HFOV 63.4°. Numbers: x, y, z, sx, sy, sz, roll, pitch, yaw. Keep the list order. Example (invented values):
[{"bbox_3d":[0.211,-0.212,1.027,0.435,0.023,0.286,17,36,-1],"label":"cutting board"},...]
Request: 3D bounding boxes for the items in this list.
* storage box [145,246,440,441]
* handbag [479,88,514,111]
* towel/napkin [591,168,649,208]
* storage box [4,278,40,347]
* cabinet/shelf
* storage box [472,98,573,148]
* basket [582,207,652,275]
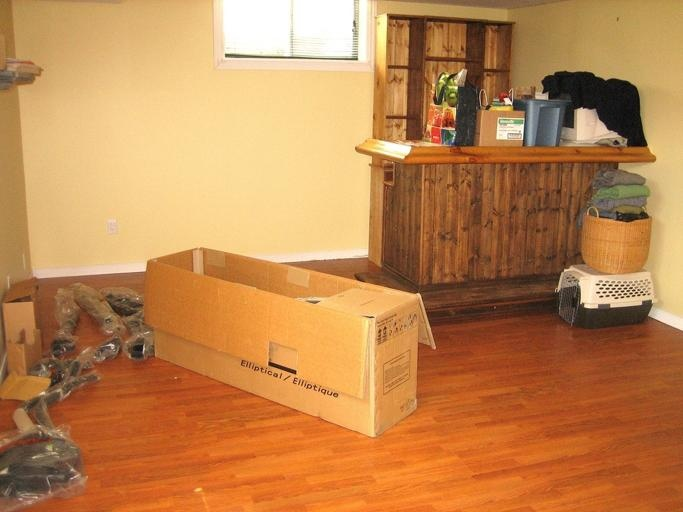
[{"bbox_3d":[-0.384,0.448,3.334,1.813,0.702,0.573,11,21,30],"label":"storage box"},{"bbox_3d":[1.226,-1.239,4.383,0.272,0.146,0.349,5,18,15],"label":"handbag"},{"bbox_3d":[2.149,-0.502,4.282,0.369,0.196,0.344,-7,22,-12],"label":"towel/napkin"},{"bbox_3d":[-1.999,0.362,3.442,0.203,0.348,0.363,1,11,-15],"label":"storage box"},{"bbox_3d":[0.901,-1.688,5.239,1.694,1.647,0.486,-3,11,-18],"label":"cabinet/shelf"},{"bbox_3d":[1.435,-1.048,4.390,0.432,0.380,0.630,-2,11,-22],"label":"storage box"},{"bbox_3d":[2.054,-0.162,4.371,0.529,0.522,0.501,-1,9,-12],"label":"basket"}]
